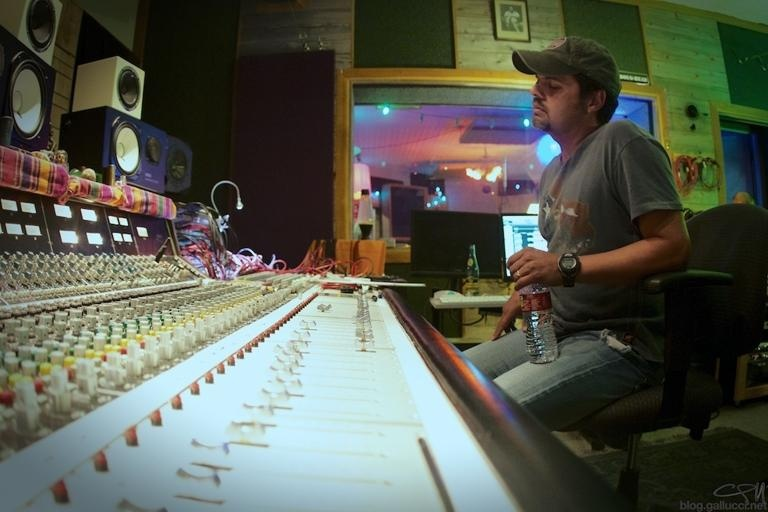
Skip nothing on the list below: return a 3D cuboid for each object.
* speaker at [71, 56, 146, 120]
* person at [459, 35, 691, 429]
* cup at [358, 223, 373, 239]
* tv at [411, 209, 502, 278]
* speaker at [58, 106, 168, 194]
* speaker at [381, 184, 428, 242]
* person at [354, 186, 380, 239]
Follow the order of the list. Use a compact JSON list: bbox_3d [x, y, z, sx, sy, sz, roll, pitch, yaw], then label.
[{"bbox_3d":[-1.886,-1.147,3.443,0.330,0.317,0.325,3,3,9],"label":"speaker"},{"bbox_3d":[0.854,0.059,2.801,1.302,2.252,1.136,-1,-2,12],"label":"person"},{"bbox_3d":[-0.206,-0.279,5.711,0.169,0.158,0.169,1,2,0],"label":"cup"},{"bbox_3d":[0.578,-0.082,4.109,0.573,0.378,0.076,0,-1,-2],"label":"tv"},{"bbox_3d":[-1.759,-0.670,3.306,0.351,0.416,0.630,1,0,7],"label":"speaker"},{"bbox_3d":[0.286,-0.758,8.884,1.112,1.032,0.377,14,-23,-36],"label":"speaker"},{"bbox_3d":[-0.275,-0.616,7.771,0.282,0.785,0.277,-2,0,-25],"label":"person"}]
